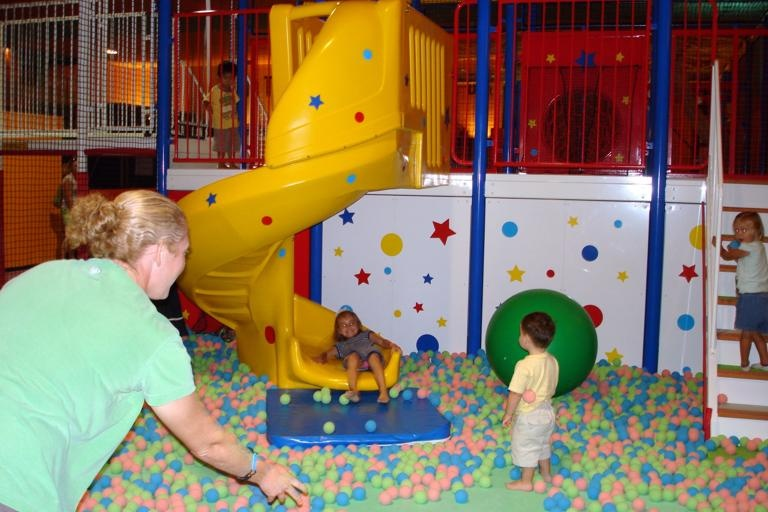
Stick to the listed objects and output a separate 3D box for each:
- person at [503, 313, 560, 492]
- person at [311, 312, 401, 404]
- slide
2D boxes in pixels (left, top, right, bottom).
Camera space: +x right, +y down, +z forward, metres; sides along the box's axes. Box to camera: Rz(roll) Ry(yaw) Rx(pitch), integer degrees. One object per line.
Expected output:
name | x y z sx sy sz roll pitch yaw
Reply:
person | 0.967 0.936 4.287 0.286 1.139 0.388 4 4 27
person | -0.201 0.772 5.353 0.475 0.279 0.768 -8 46 -3
slide | -0.509 -0.391 6.442 2.524 3.898 2.754 1 4 22
